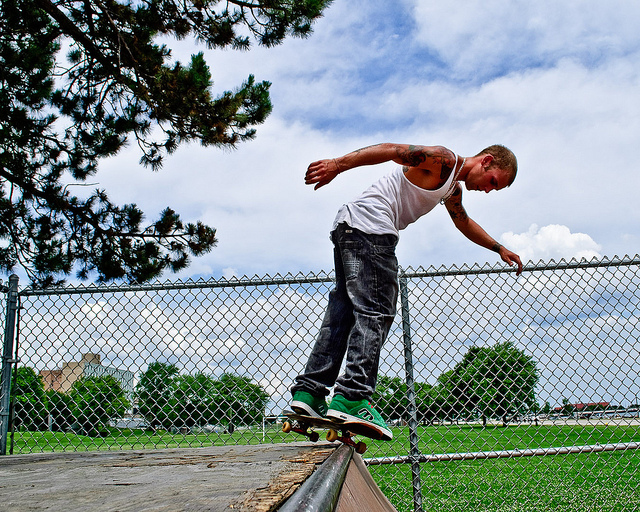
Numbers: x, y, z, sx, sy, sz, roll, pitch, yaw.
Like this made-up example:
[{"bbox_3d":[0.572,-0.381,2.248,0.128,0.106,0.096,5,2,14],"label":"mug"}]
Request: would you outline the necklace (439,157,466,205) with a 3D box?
[{"bbox_3d":[1.782,-0.999,11.174,0.335,0.656,0.656,1,10,9],"label":"necklace"}]
